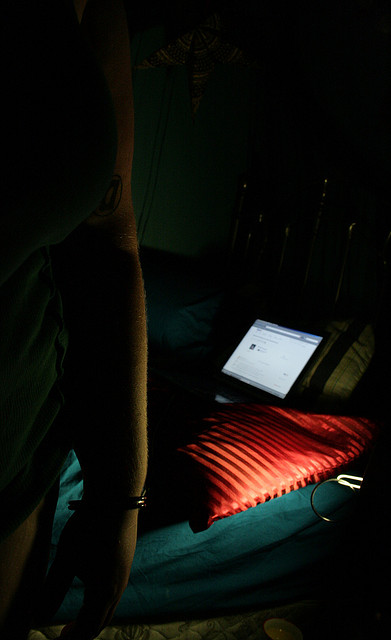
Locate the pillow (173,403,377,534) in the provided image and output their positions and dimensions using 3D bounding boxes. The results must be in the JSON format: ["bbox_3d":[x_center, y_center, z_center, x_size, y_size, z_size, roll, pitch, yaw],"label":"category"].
[{"bbox_3d":[0.095,0.177,0.640,0.183,0.041,0.150,-10,16,-32],"label":"pillow"}]

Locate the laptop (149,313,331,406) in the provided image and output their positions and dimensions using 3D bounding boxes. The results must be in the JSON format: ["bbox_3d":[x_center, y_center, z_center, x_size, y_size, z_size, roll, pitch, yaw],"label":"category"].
[{"bbox_3d":[0.097,0.080,0.881,0.185,0.102,0.204,10,7,-25],"label":"laptop"}]

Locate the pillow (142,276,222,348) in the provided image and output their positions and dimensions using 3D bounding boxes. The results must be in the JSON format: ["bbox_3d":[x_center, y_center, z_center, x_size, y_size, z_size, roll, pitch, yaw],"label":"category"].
[{"bbox_3d":[-0.048,-0.032,1.373,0.055,0.189,0.226,10,6,-43],"label":"pillow"}]
